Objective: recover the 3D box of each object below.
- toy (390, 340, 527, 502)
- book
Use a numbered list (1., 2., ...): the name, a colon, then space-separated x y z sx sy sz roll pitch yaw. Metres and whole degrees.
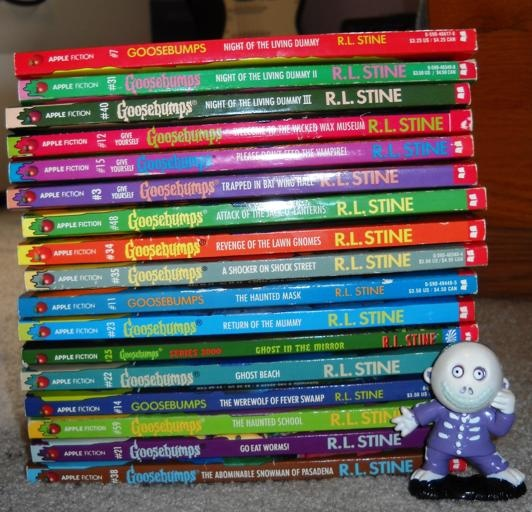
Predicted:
1. toy: 0.237 0.214 0.955 0.203 0.205 0.106 1 -2 5
2. book: -0.023 0.003 0.981 0.624 0.466 0.382 -3 41 -1
